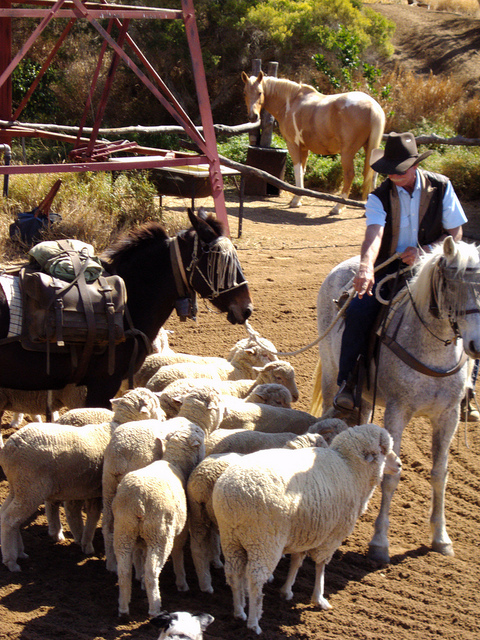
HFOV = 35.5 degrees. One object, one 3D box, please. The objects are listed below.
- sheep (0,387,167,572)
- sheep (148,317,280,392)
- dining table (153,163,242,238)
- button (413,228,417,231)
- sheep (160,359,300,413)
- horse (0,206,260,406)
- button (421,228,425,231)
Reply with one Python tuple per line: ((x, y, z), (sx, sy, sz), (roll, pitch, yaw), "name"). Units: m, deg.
((-1.037, 1.107, 5.006), (1.488, 1.048, 0.507), (2, -7, -41), "sheep")
((-0.296, 0.318, 6.924), (1.283, 0.893, 0.521), (-5, 13, -13), "sheep")
((-0.946, -2.202, 14.723), (1.778, 1.582, 1.925), (-10, 15, -40), "dining table")
((1.390, -0.717, 5.996), (0.030, 0.021, 0.006), (2, -1, 5), "button")
((0.030, 0.687, 6.605), (1.102, 0.542, 0.353), (-1, -1, 34), "sheep")
((-1.023, -0.063, 6.102), (1.908, 1.665, 0.715), (-7, 16, -38), "horse")
((1.458, -0.718, 6.003), (0.025, 0.019, 0.005), (-9, 5, 5), "button")
